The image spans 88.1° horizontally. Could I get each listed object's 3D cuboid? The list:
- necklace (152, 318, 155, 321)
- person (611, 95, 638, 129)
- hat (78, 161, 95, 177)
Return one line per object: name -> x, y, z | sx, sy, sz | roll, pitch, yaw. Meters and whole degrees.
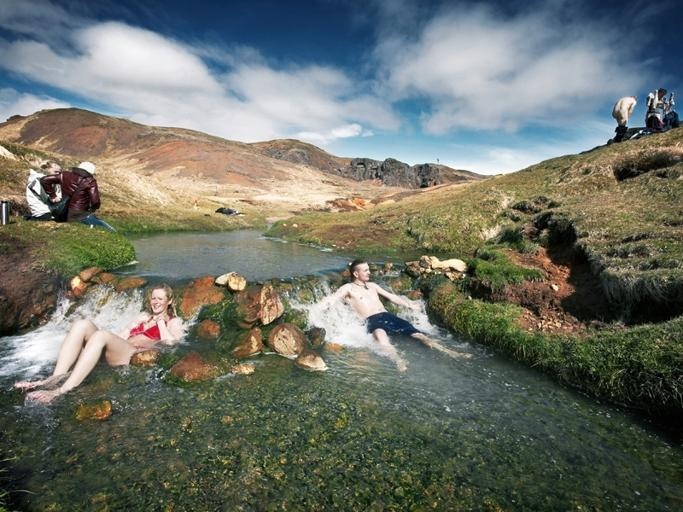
necklace -> -4.668, 1.610, 8.871 | 0.056, 0.048, 0.015 | 1, -24, -37
person -> 17.182, -8.716, 21.669 | 0.716, 1.492, 1.587 | 7, 6, 27
hat -> -9.705, -3.380, 13.603 | 0.354, 0.535, 0.600 | 2, 6, -17
